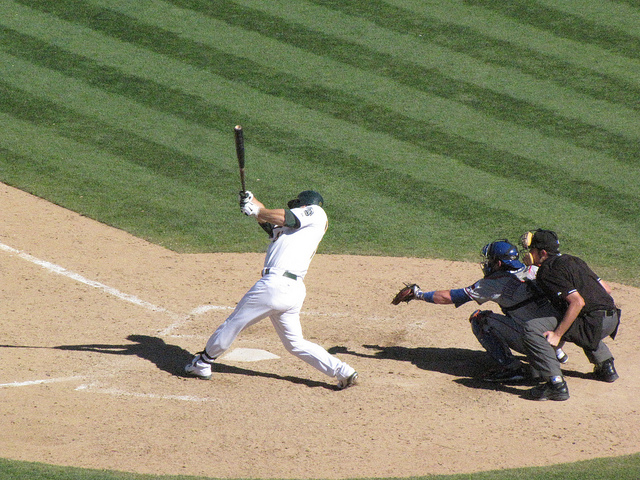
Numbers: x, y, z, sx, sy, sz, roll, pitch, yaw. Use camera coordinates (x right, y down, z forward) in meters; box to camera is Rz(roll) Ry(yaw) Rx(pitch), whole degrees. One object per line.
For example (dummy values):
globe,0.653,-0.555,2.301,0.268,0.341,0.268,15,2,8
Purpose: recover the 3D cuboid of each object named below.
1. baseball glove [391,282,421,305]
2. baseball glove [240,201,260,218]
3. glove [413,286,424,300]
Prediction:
baseball glove,1.162,0.778,18.021,0.473,0.153,0.209,-38,-3,31
baseball glove,-0.933,-0.419,17.529,0.269,0.186,0.143,14,3,6
glove,1.363,0.738,17.956,0.125,0.071,0.176,-24,67,-32
